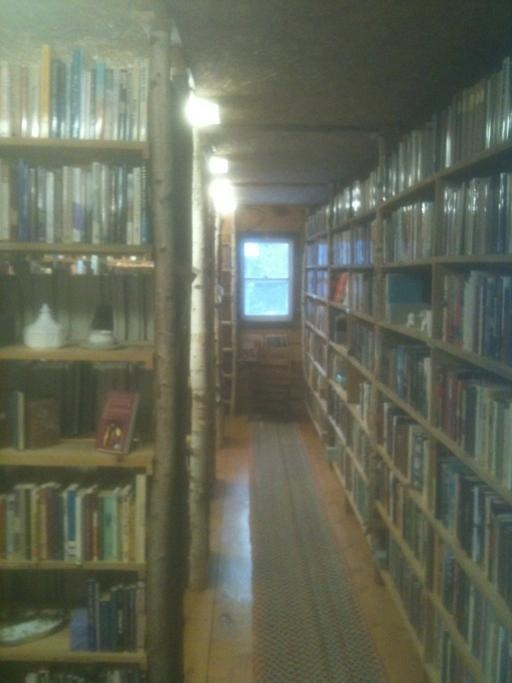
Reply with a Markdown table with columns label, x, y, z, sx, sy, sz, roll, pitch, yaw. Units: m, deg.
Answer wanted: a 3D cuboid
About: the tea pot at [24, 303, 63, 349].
| label | x | y | z | sx | sy | sz | roll | pitch | yaw |
| --- | --- | --- | --- | --- | --- | --- | --- | --- | --- |
| tea pot | -0.614 | -0.045 | 2.073 | 0.097 | 0.156 | 0.110 | 2 | 2 | 36 |
